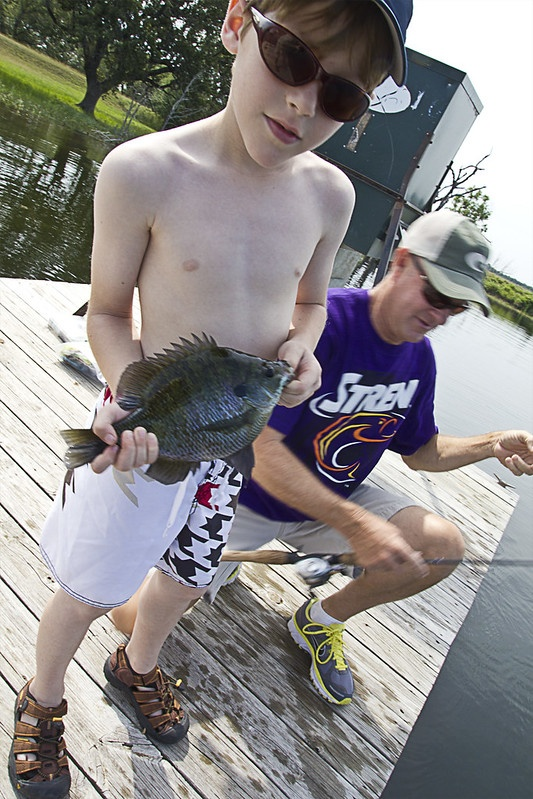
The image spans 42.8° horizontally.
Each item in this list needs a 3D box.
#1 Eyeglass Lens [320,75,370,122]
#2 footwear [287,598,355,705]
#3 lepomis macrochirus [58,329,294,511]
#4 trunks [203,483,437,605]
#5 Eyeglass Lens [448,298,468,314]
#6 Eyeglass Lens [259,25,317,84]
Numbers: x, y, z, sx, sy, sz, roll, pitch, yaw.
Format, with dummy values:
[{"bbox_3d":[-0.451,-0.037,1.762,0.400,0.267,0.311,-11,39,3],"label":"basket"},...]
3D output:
[{"bbox_3d":[0.151,-0.620,1.420,0.086,0.033,0.078,4,48,-48],"label":"Eyeglass Lens"},{"bbox_3d":[0.213,0.905,2.509,0.167,0.172,0.376,11,29,-49],"label":"footwear"},{"bbox_3d":[-0.149,0.032,1.336,0.313,0.331,0.134,21,19,-18],"label":"lepomis macrochirus"},{"bbox_3d":[0.155,0.532,2.639,0.336,0.272,1.297,0,-9,-29],"label":"trunks"},{"bbox_3d":[0.567,-0.283,2.033,0.047,0.012,0.046,2,25,-40],"label":"Eyeglass Lens"},{"bbox_3d":[0.041,-0.672,1.338,0.125,0.035,0.099,34,25,13],"label":"Eyeglass Lens"}]
